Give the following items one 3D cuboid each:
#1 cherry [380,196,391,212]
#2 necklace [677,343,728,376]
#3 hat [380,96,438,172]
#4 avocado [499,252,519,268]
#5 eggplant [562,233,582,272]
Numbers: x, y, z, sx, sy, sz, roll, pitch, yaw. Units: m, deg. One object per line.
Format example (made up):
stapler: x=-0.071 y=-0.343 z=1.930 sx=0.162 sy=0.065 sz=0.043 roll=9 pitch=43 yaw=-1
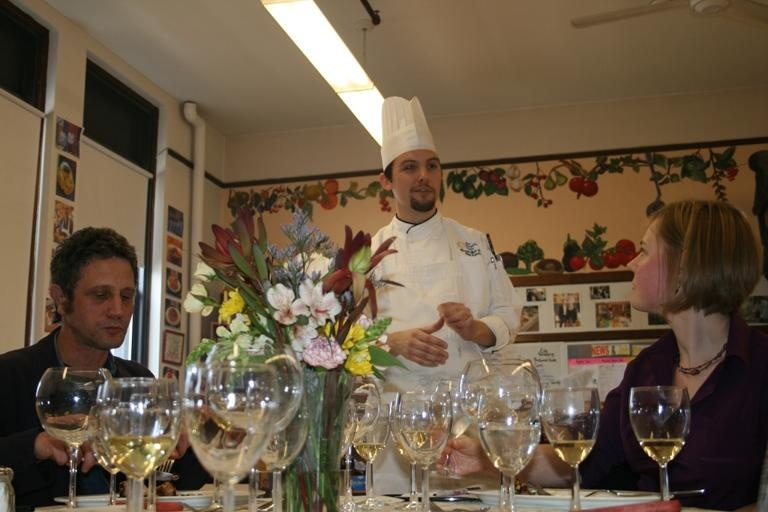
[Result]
cherry: x=0.010 y=-0.417 z=5.067 sx=0.063 sy=0.131 sz=0.043 roll=-22 pitch=-3 yaw=-7
necklace: x=1.025 y=0.342 z=2.016 sx=0.098 sy=0.017 sz=0.113 roll=-44 pitch=7 yaw=-28
hat: x=0.097 y=-0.688 z=3.326 sx=0.269 sy=0.352 sz=0.360 roll=-12 pitch=1 yaw=-20
avocado: x=0.974 y=0.034 z=4.863 sx=0.145 sy=0.112 sz=0.152 roll=-1 pitch=1 yaw=-2
eggplant: x=1.426 y=0.006 z=4.802 sx=0.104 sy=0.286 sz=0.149 roll=25 pitch=-33 yaw=-27
